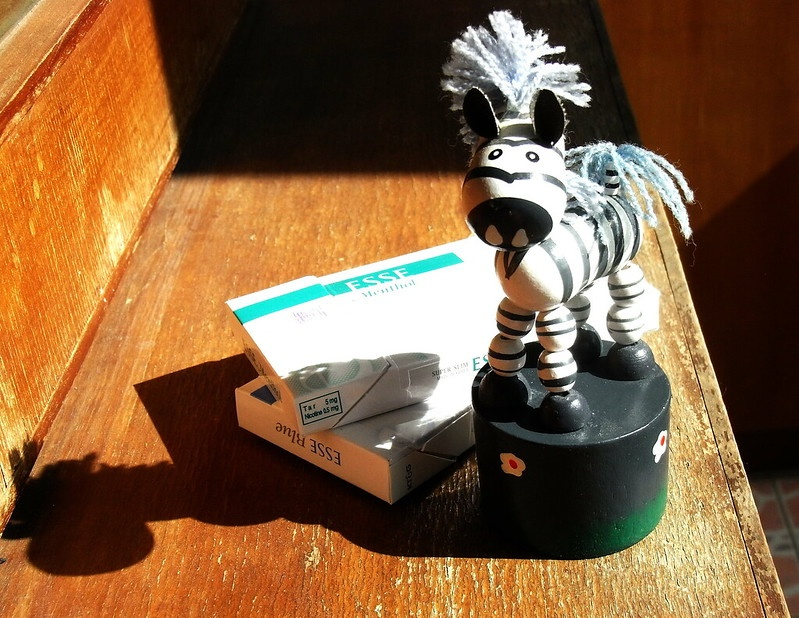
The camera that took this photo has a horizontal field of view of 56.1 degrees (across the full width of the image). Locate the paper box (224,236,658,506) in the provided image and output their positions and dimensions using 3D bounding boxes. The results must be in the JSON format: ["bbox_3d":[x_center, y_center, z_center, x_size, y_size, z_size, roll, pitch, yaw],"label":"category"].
[{"bbox_3d":[-0.016,0.044,0.698,0.226,0.077,0.310,24,40,28],"label":"paper box"}]

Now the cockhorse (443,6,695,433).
[{"bbox_3d":[0.143,-0.080,0.606,0.194,0.304,0.117,-18,29,-21],"label":"cockhorse"}]
